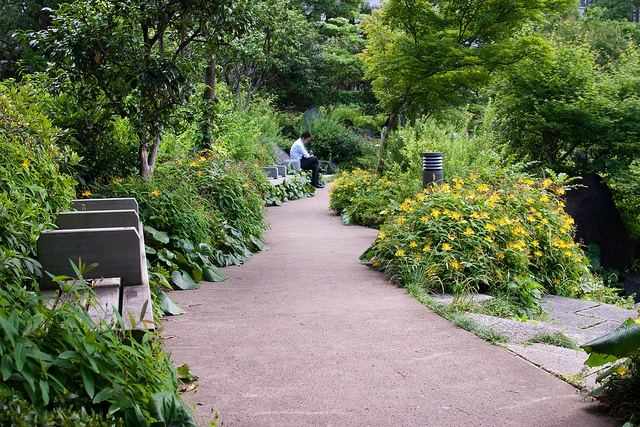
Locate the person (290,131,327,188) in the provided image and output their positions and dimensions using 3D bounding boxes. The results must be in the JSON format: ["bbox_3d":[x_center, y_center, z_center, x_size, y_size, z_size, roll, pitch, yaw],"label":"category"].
[{"bbox_3d":[-0.397,-1.570,14.215,0.798,1.707,1.434,-4,6,3],"label":"person"}]

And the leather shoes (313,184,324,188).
[{"bbox_3d":[-0.014,-0.857,14.797,0.274,0.096,0.175,-4,-21,-10],"label":"leather shoes"}]
